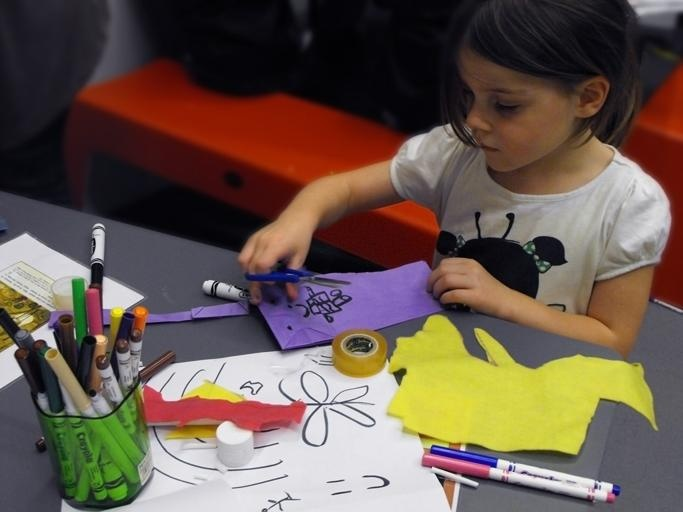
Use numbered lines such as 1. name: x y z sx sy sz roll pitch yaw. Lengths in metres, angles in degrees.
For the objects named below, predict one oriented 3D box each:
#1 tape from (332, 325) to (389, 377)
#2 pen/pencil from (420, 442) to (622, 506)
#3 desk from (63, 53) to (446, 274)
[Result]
1. tape: 0.024 0.134 0.874 0.079 0.028 0.076 6 44 -2
2. pen/pencil: 0.215 0.266 0.749 0.237 0.023 0.027 13 43 5
3. desk: -0.086 -0.327 2.221 1.440 0.682 0.737 21 35 23
